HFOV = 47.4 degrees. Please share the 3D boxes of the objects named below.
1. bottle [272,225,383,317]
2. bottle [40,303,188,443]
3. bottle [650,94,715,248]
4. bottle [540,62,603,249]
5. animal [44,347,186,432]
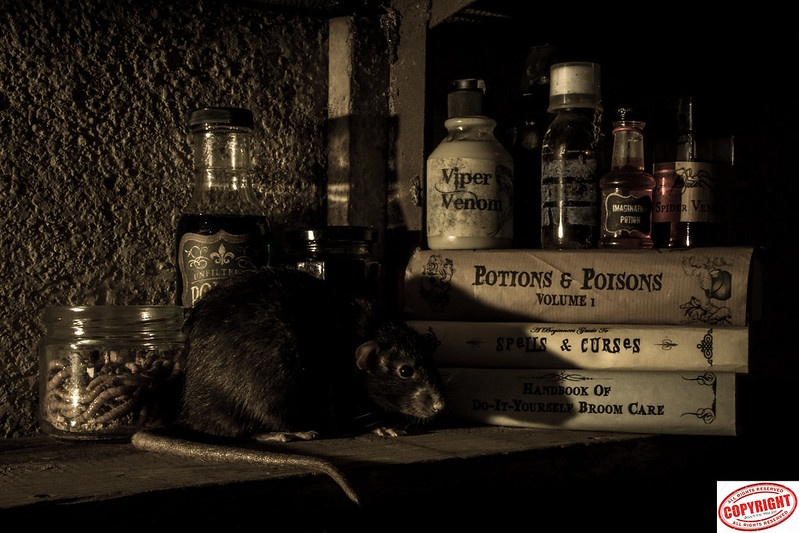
[{"bbox_3d":[-0.191,0.006,2.181,0.217,0.180,0.189,3,4,37],"label":"bottle"},{"bbox_3d":[-0.650,0.225,1.966,0.296,0.241,0.305,1,-5,0],"label":"bottle"},{"bbox_3d":[0.691,-0.239,2.209,0.147,0.380,0.230,-2,1,26],"label":"bottle"},{"bbox_3d":[0.408,-0.264,2.199,0.156,0.319,0.217,-2,1,18],"label":"bottle"},{"bbox_3d":[-0.645,0.265,1.973,0.228,0.142,0.211,3,-11,-14],"label":"animal"}]
